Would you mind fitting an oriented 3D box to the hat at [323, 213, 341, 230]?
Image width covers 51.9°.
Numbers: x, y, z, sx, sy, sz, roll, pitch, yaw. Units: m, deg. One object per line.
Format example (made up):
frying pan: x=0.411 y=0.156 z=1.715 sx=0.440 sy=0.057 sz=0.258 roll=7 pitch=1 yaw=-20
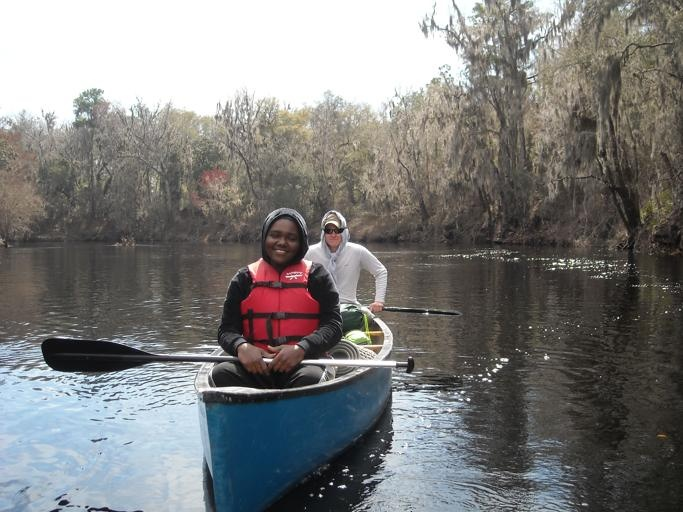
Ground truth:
hat: x=-0.114 y=-0.392 z=8.501 sx=0.153 sy=0.185 sz=0.221 roll=1 pitch=-24 yaw=2
